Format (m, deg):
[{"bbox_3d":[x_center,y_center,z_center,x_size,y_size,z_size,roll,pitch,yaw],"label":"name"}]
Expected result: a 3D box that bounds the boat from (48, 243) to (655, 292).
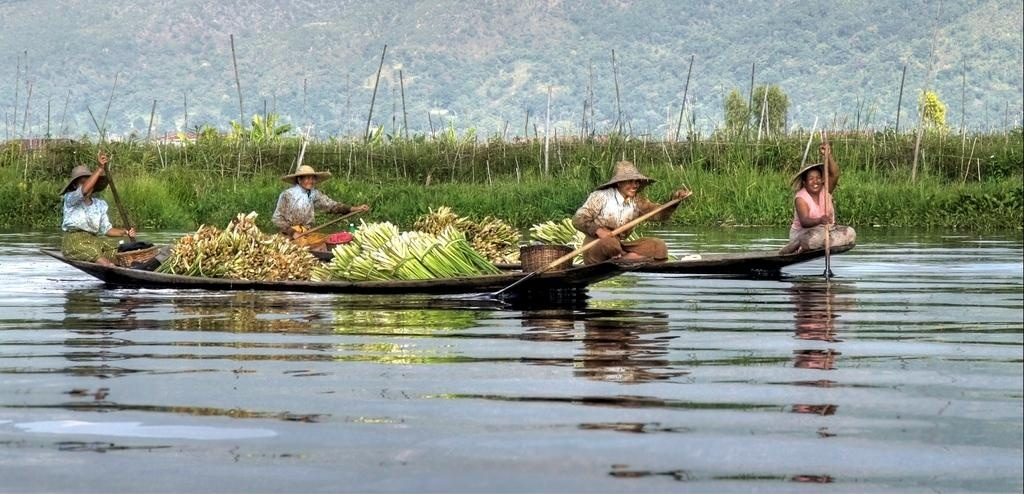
[{"bbox_3d":[-10.928,1.470,96.408,27.740,3.259,9.147,1,0,3],"label":"boat"}]
